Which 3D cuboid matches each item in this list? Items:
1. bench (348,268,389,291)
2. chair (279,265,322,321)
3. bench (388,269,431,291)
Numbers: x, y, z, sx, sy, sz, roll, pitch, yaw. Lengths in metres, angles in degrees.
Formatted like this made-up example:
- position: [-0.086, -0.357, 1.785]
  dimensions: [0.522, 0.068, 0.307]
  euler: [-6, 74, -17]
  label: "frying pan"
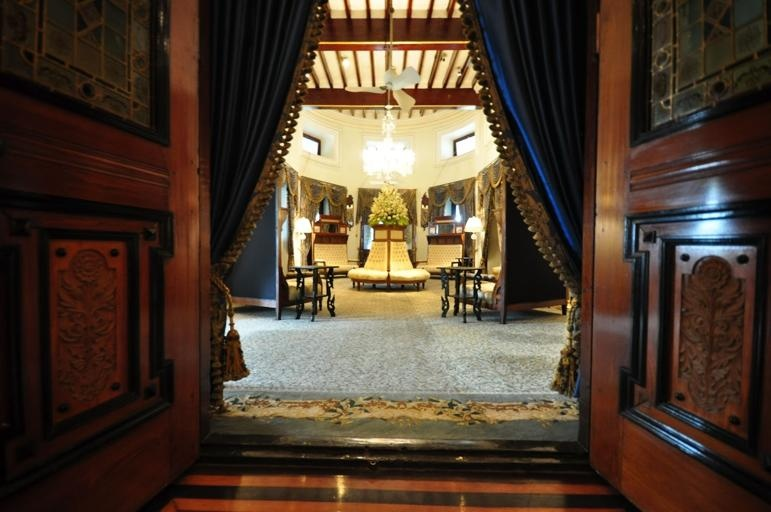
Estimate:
- position: [-0.306, 0.386, 8.828]
  dimensions: [0.600, 0.387, 0.956]
  euler: [0, 5, -7]
  label: "bench"
- position: [-0.947, 0.403, 5.970]
  dimensions: [0.549, 0.739, 0.513]
  euler: [-1, -1, 39]
  label: "chair"
- position: [0.412, 0.403, 8.839]
  dimensions: [0.544, 0.377, 0.992]
  euler: [1, 5, 12]
  label: "bench"
